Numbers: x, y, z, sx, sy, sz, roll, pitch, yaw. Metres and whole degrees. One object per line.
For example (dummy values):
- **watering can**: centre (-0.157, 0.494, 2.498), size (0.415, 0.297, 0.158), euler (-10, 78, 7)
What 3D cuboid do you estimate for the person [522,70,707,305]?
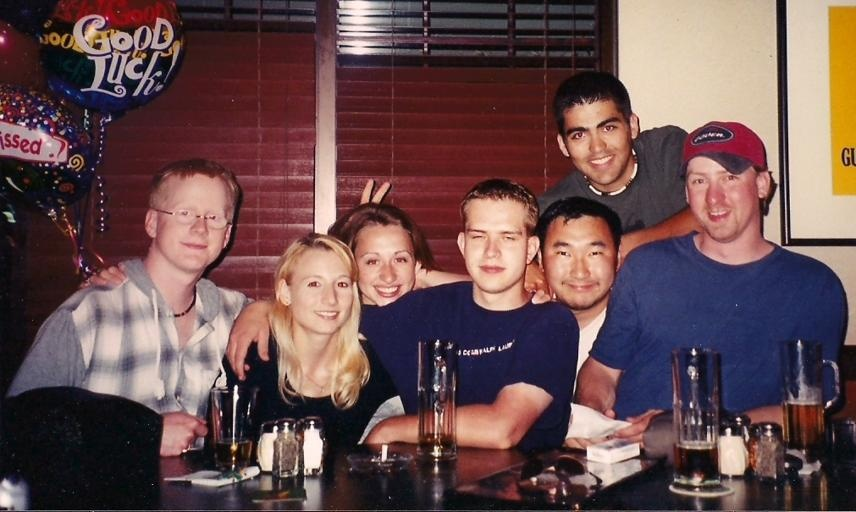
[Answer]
- **person**: centre (0.835, -0.385, 3.938), size (1.114, 0.957, 0.646), euler (-14, 14, 15)

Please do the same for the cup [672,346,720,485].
- **cup**: centre (0.960, 0.616, 2.890), size (0.217, 0.472, 0.198), euler (2, -9, 0)

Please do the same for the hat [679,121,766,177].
- **hat**: centre (1.398, -0.513, 3.691), size (0.357, 0.160, 0.245), euler (7, 2, -35)

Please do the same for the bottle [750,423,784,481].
- **bottle**: centre (1.214, 0.744, 2.916), size (0.142, 0.202, 0.123), euler (14, -20, -20)

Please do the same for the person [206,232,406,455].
- **person**: centre (-0.543, 0.562, 3.683), size (1.114, 1.268, 0.782), euler (2, -3, -21)

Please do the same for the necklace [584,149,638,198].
- **necklace**: centre (0.906, -0.417, 3.832), size (0.259, 0.219, 0.061), euler (-1, 7, 10)

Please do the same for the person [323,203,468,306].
- **person**: centre (-0.298, -0.004, 3.926), size (1.201, 0.452, 0.401), euler (-2, 11, -36)
